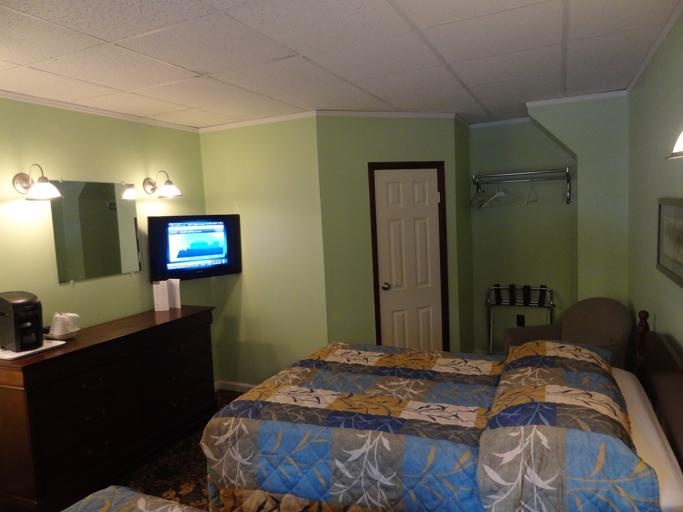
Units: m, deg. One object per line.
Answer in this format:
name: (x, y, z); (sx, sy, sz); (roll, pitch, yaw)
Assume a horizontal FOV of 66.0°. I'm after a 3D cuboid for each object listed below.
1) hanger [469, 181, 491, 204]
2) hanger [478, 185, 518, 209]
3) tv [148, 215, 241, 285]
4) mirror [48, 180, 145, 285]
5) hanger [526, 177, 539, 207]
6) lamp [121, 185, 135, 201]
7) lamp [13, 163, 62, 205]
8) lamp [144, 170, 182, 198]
hanger: (1.589, -0.723, 5.998); (0.199, 0.224, 0.381); (-1, 5, 14)
hanger: (1.789, -0.652, 5.896); (0.284, 0.114, 0.214); (-24, 30, -36)
tv: (-1.484, -0.087, 5.157); (0.698, 0.508, 0.088); (-4, 5, -40)
mirror: (-2.141, -0.226, 4.561); (0.706, 0.819, 0.019); (-6, -3, -7)
hanger: (2.097, -0.696, 5.755); (0.116, 0.239, 0.045); (0, 15, 12)
lamp: (-1.975, -0.574, 4.818); (0.123, 0.124, 0.121); (-2, 11, -25)
lamp: (-2.382, -0.575, 4.112); (0.252, 0.266, 0.314); (5, 6, 14)
lamp: (-1.698, -0.688, 5.098); (0.324, 0.282, 0.283); (4, 8, 15)
